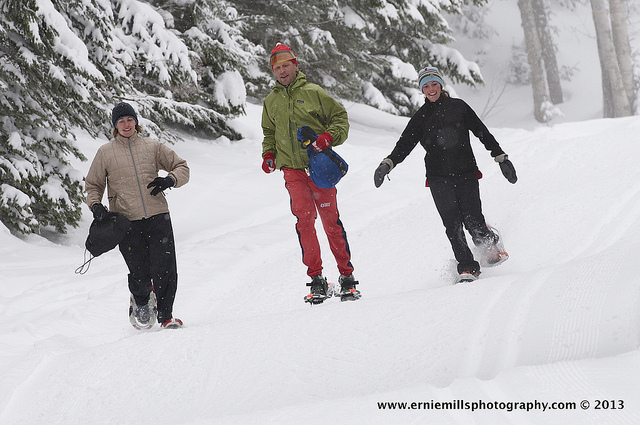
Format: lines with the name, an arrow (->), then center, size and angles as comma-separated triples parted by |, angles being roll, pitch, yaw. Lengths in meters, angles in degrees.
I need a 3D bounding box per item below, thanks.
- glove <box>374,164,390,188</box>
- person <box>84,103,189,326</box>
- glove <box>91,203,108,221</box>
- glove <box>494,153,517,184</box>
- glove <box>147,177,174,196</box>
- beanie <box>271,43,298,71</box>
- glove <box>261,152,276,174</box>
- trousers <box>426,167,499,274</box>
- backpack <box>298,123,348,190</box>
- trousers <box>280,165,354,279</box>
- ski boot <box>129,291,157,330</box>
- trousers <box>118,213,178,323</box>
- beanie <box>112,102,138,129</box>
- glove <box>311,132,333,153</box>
glove -> 0.718, -0.444, 7.141 | 0.142, 0.104, 0.274 | 3, 61, 46
person -> -1.940, 0.116, 6.954 | 0.825, 2.633, 0.989 | 4, 24, 37
glove -> -2.359, -0.024, 6.674 | 0.147, 0.180, 0.186 | -19, 21, -21
glove -> 2.133, -0.490, 7.061 | 0.197, 0.378, 0.297 | -11, 19, 1
glove -> -1.718, -0.297, 6.760 | 0.290, 0.197, 0.151 | -16, 20, -10
beanie -> -0.404, -1.756, 6.835 | 0.190, 0.221, 0.254 | -32, -13, 27
glove -> -0.567, -0.559, 6.908 | 0.079, 0.214, 0.154 | 4, 12, 22
trousers -> 1.662, 0.061, 7.126 | 0.665, 0.540, 1.761 | -4, 41, 4
backpack -> 0.068, -0.617, 6.846 | 0.494, 0.699, 0.225 | -6, -2, 7
trousers -> 0.017, 0.101, 6.930 | 0.656, 0.477, 1.818 | 9, 39, -17
ski boot -> -1.991, 1.102, 7.021 | 0.300, 0.202, 0.622 | -1, 35, -17
trousers -> -1.804, 0.613, 6.803 | 0.626, 1.084, 0.490 | -17, 20, -17
beanie -> -2.139, -1.099, 6.902 | 0.260, 0.256, 0.251 | -10, 11, -7
glove -> 0.033, -0.751, 6.584 | 0.210, 0.157, 0.095 | -43, -2, 3
